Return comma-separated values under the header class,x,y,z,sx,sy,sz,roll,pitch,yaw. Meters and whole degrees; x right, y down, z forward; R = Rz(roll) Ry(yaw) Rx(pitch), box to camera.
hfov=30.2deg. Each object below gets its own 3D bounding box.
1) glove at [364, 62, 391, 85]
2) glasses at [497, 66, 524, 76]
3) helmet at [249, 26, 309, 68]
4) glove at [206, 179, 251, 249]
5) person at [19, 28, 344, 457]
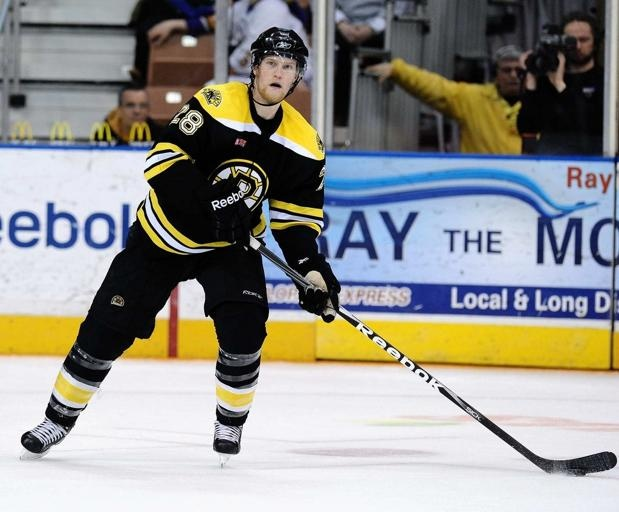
class,x,y,z,sx,sy,sz,roll,pitch,yaw
glove,0.376,-1.003,6.303,0.135,0.098,0.049,-21,26,18
glasses,1.125,-1.016,6.291,0.078,0.027,0.057,8,4,-43
helmet,-0.123,-0.826,4.580,0.163,0.172,0.184,7,-19,-14
glove,-0.309,-0.162,4.480,0.092,0.231,0.178,-19,13,-25
person,-0.438,-0.068,4.531,1.126,1.658,0.385,1,10,0
